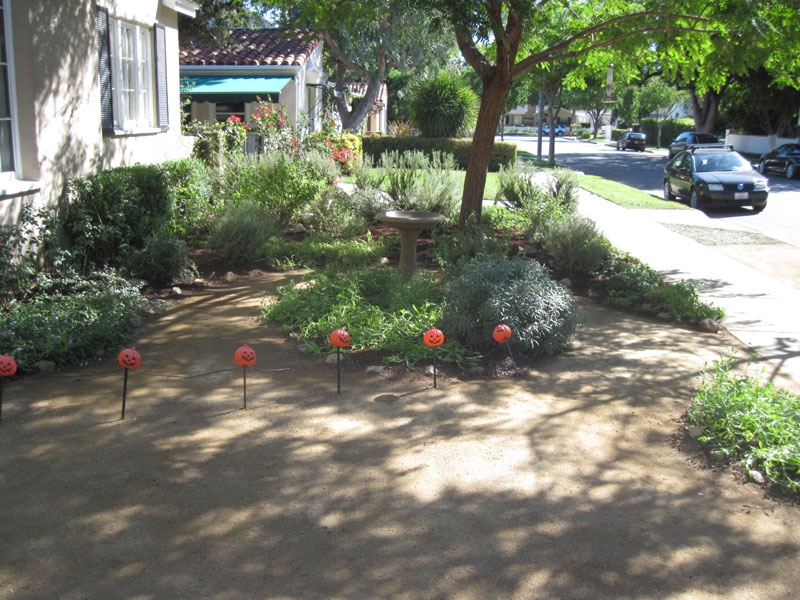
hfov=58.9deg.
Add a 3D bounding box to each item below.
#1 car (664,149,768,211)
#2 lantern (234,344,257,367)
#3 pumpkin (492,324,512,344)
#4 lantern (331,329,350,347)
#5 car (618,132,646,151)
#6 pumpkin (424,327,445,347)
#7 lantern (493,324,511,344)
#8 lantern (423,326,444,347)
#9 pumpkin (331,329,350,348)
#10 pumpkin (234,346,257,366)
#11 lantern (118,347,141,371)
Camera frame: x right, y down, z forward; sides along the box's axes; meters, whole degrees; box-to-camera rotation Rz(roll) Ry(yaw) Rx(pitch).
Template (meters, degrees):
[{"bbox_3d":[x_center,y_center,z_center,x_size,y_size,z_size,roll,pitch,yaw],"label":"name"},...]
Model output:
[{"bbox_3d":[8.800,-3.331,19.663,1.790,1.664,2.639,0,11,-3],"label":"car"},{"bbox_3d":[-1.467,0.541,6.755,0.193,0.248,0.215,8,15,29],"label":"lantern"},{"bbox_3d":[0.995,0.333,6.999,0.184,0.262,0.191,-2,0,-4],"label":"pumpkin"},{"bbox_3d":[-0.563,0.390,6.731,0.181,0.195,0.189,-1,19,-4],"label":"lantern"},{"bbox_3d":[16.449,-11.187,50.067,0.850,1.382,2.846,0,11,-2],"label":"car"},{"bbox_3d":[0.335,0.368,6.811,0.183,0.184,0.190,1,5,-4],"label":"pumpkin"},{"bbox_3d":[0.995,0.332,6.998,0.177,0.252,0.184,-2,1,-1],"label":"lantern"},{"bbox_3d":[0.332,0.360,6.817,0.193,0.194,0.201,0,5,-7],"label":"lantern"},{"bbox_3d":[-0.572,0.380,6.834,0.168,0.180,0.174,6,18,23],"label":"pumpkin"},{"bbox_3d":[-1.437,0.536,6.604,0.211,0.213,0.214,-4,11,-30],"label":"pumpkin"},{"bbox_3d":[-2.352,0.543,6.193,0.151,0.208,0.248,-3,11,-20],"label":"lantern"}]
